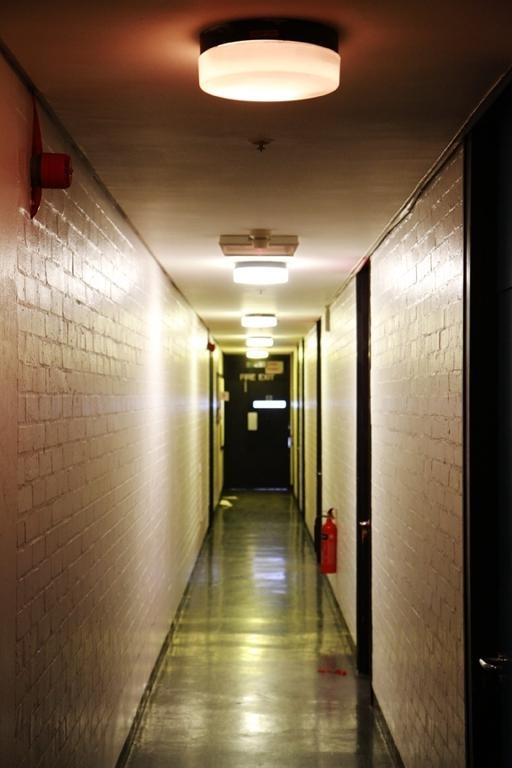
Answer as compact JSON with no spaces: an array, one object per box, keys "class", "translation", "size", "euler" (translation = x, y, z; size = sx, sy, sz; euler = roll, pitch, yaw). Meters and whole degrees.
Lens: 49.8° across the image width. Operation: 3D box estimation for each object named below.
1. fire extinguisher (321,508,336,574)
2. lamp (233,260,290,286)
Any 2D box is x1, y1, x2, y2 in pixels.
[{"class":"fire extinguisher","translation":[0.675,1.427,5.090],"size":[0.138,0.547,0.422],"euler":[0,-3,9]},{"class":"lamp","translation":[0.032,-0.728,3.549],"size":[0.333,0.124,0.245],"euler":[1,-3,-3]}]
